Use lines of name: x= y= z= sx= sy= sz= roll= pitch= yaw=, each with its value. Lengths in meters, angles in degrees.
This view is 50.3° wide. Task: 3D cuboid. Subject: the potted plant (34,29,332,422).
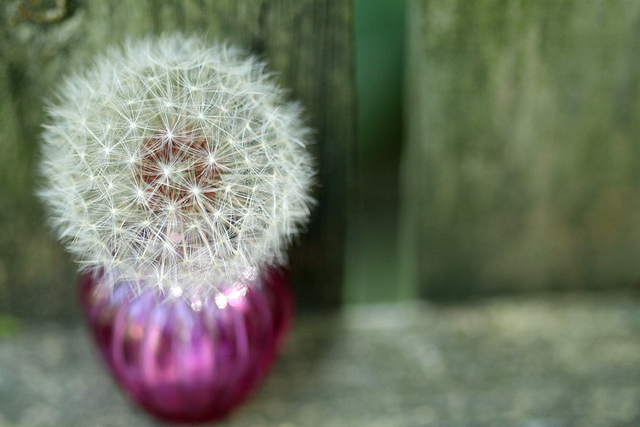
potted plant: x=-0.464 y=-0.052 z=2.893 sx=1.217 sy=1.510 sz=1.265 roll=-1 pitch=13 yaw=-1

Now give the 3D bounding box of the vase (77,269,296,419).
vase: x=-0.481 y=0.512 z=2.445 sx=0.579 sy=0.441 sz=0.564 roll=1 pitch=4 yaw=6
